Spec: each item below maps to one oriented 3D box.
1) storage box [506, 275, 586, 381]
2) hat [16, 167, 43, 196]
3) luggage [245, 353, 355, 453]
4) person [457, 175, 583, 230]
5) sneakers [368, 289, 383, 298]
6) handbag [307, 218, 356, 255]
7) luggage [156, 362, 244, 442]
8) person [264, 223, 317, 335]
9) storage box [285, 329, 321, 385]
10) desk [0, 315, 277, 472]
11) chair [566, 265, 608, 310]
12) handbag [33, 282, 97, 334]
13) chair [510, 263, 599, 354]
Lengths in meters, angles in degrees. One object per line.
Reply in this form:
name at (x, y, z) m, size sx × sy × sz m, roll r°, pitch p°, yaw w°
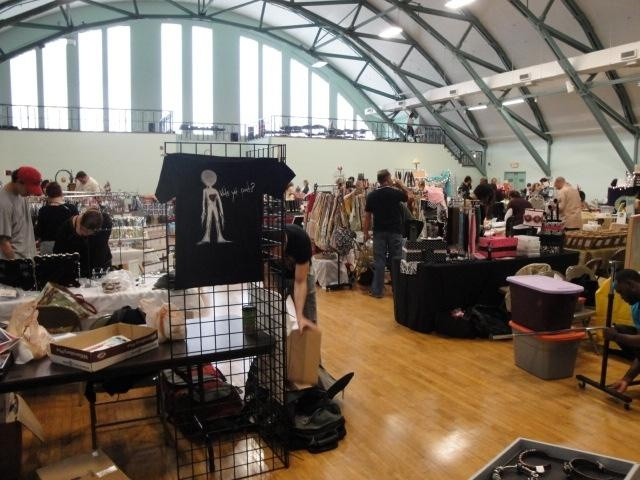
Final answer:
storage box at (2.144, 0.860, 4.836) m, size 0.562 × 0.918 × 0.771 m, roll -5°, pitch 9°, yaw -20°
hat at (-2.942, -0.594, 5.140) m, size 0.213 × 0.289 × 0.260 m, roll -8°, pitch 14°, yaw -31°
luggage at (-0.145, 1.249, 4.216) m, size 0.722 × 0.425 × 0.931 m, roll -4°, pitch 17°, yaw -22°
person at (3.992, -0.625, 9.021) m, size 1.215 × 0.879 × 2.093 m, roll 6°, pitch 14°, yaw 29°
sneakers at (0.830, 0.810, 7.676) m, size 0.084 × 0.107 × 0.230 m, roll -3°, pitch 5°, yaw -31°
handbag at (0.245, -0.037, 8.107) m, size 0.459 × 0.442 × 0.590 m, roll 9°, pitch -9°, yaw -38°
luggage at (-0.985, 1.244, 4.181) m, size 0.820 × 0.261 × 0.604 m, roll 25°, pitch 19°, yaw 35°
person at (-0.230, 0.314, 4.028) m, size 0.387 × 0.984 × 0.951 m, roll -1°, pitch 12°, yaw -1°
storage box at (-0.132, 0.935, 4.035) m, size 0.304 × 0.481 × 0.318 m, roll 2°, pitch 6°, yaw 22°
desk at (-1.146, 0.737, 3.381) m, size 1.679 × 0.203 × 0.340 m, roll -4°, pitch 12°, yaw -16°
chair at (2.977, 0.514, 5.799) m, size 0.300 × 0.418 × 0.401 m, roll -5°, pitch 11°, yaw 31°
handbag at (-2.050, 0.562, 4.078) m, size 0.496 × 0.300 × 0.318 m, roll 2°, pitch -15°, yaw 41°
chair at (2.555, 0.687, 5.831) m, size 0.750 × 0.433 × 1.238 m, roll -1°, pitch 6°, yaw -14°
